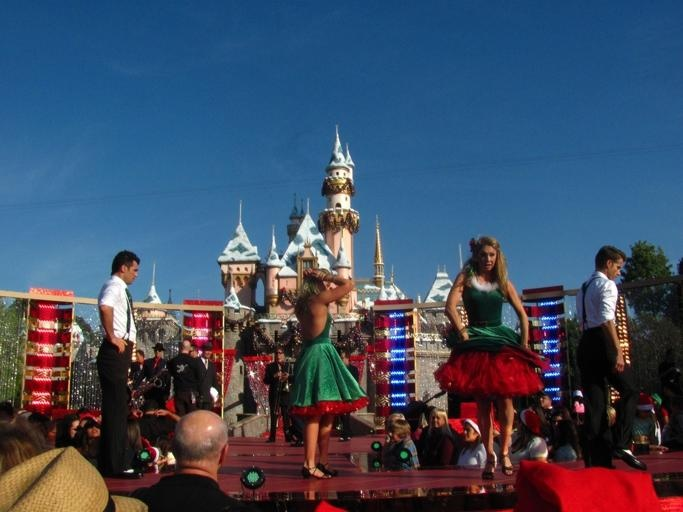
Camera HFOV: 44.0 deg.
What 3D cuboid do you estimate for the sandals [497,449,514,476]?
[{"bbox_3d":[1.859,2.334,9.496,0.150,0.272,0.442,-3,-12,10],"label":"sandals"}]

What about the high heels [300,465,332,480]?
[{"bbox_3d":[-0.290,2.461,9.566,0.325,0.158,0.132,0,-6,2],"label":"high heels"}]

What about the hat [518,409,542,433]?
[{"bbox_3d":[2.436,2.134,10.883,0.208,0.328,0.164,-26,-11,-38],"label":"hat"}]

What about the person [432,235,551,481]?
[{"bbox_3d":[1.699,1.127,9.720,1.139,2.731,0.600,-3,-11,6],"label":"person"}]

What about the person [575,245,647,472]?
[{"bbox_3d":[3.082,1.178,9.869,0.618,2.575,0.566,-5,-11,17],"label":"person"}]

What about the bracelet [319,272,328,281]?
[{"bbox_3d":[-0.199,0.255,9.914,0.086,0.100,0.034,5,-7,-1],"label":"bracelet"}]

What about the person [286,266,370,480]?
[{"bbox_3d":[-0.196,1.366,9.988,0.813,2.449,1.000,-1,-11,-3],"label":"person"}]
